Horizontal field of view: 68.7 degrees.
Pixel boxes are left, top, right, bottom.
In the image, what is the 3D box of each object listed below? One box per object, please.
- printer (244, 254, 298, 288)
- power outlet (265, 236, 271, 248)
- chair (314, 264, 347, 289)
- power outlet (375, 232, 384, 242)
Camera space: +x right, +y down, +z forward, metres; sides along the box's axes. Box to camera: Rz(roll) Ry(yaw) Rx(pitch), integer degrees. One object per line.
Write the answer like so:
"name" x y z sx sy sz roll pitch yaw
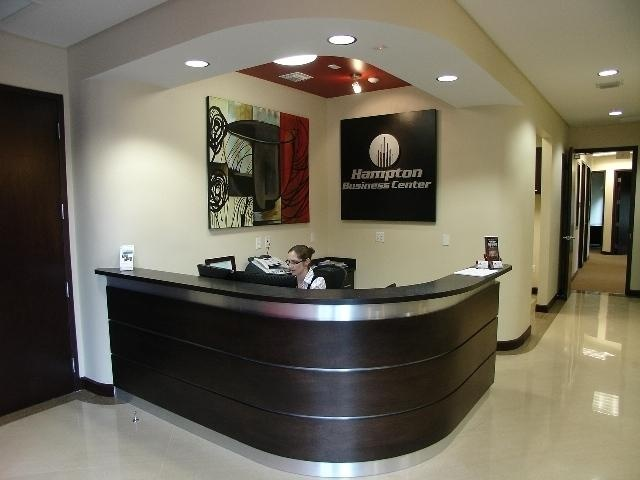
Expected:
"printer" -0.507 0.326 4.436 0.295 0.128 0.394 -3 13 -40
"power outlet" -0.656 0.018 5.764 0.028 0.190 0.132 3 4 27
"chair" 0.086 0.354 4.347 0.174 0.247 0.346 8 14 40
"power outlet" 0.800 -0.052 6.271 0.109 0.146 0.015 5 8 30
